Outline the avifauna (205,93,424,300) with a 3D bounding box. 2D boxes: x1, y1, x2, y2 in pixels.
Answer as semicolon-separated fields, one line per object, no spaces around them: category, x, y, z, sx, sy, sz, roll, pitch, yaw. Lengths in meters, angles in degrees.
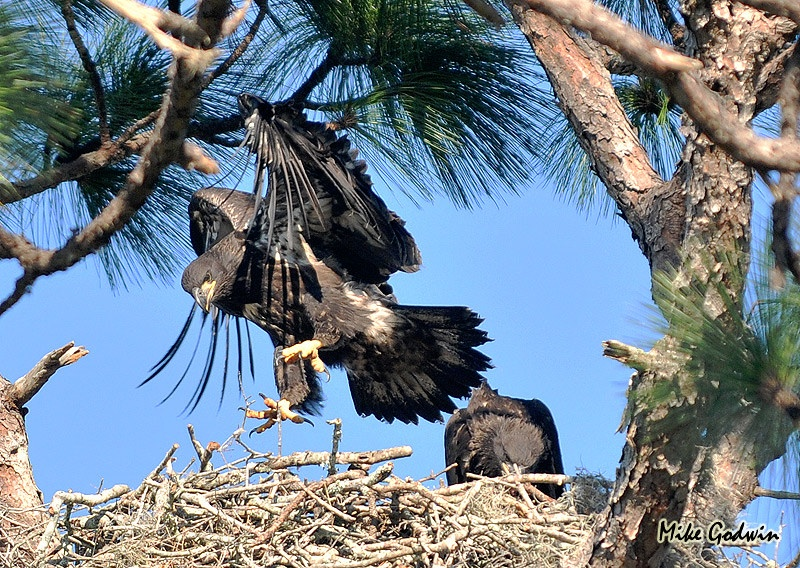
avifauna;-0.536;-0.535;10.579;0.884;1.393;0.770;-6;-72;-22
